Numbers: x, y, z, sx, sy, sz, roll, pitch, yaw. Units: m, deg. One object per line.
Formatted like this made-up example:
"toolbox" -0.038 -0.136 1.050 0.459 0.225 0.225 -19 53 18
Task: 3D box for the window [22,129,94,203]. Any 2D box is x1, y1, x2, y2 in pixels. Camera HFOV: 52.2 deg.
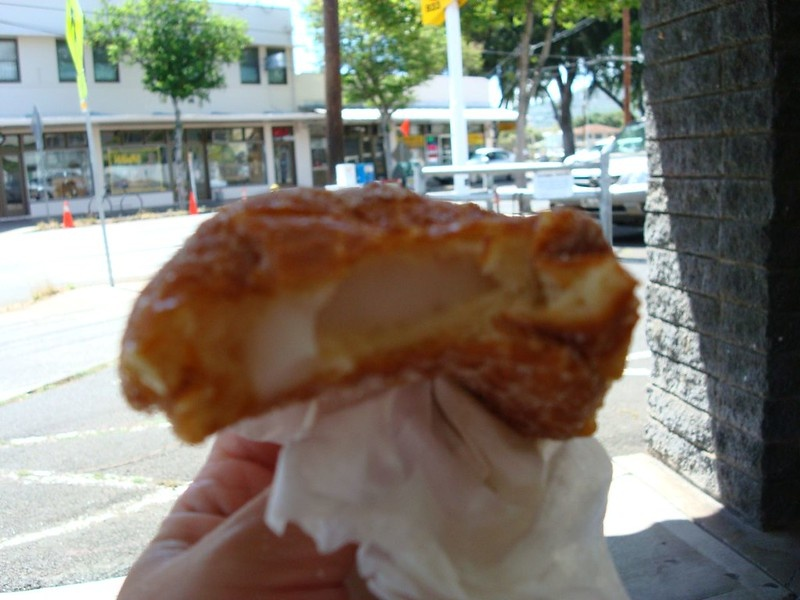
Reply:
"window" -10.917 -4.257 26.135 1.970 2.170 0.702 -12 15 -27

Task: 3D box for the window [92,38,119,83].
"window" -9.635 -7.841 26.806 0.764 1.418 0.047 -4 -21 -13

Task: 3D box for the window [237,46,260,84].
"window" -5.462 -8.528 29.794 0.827 1.282 0.217 -13 15 -30

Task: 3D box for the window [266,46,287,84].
"window" -4.535 -8.610 30.094 0.792 1.317 0.968 -6 13 -1

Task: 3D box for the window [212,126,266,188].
"window" -5.965 -5.303 29.908 2.181 2.340 0.153 -5 16 -23

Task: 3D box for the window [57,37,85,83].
"window" -10.476 -7.568 25.822 0.699 1.378 0.078 0 7 4
